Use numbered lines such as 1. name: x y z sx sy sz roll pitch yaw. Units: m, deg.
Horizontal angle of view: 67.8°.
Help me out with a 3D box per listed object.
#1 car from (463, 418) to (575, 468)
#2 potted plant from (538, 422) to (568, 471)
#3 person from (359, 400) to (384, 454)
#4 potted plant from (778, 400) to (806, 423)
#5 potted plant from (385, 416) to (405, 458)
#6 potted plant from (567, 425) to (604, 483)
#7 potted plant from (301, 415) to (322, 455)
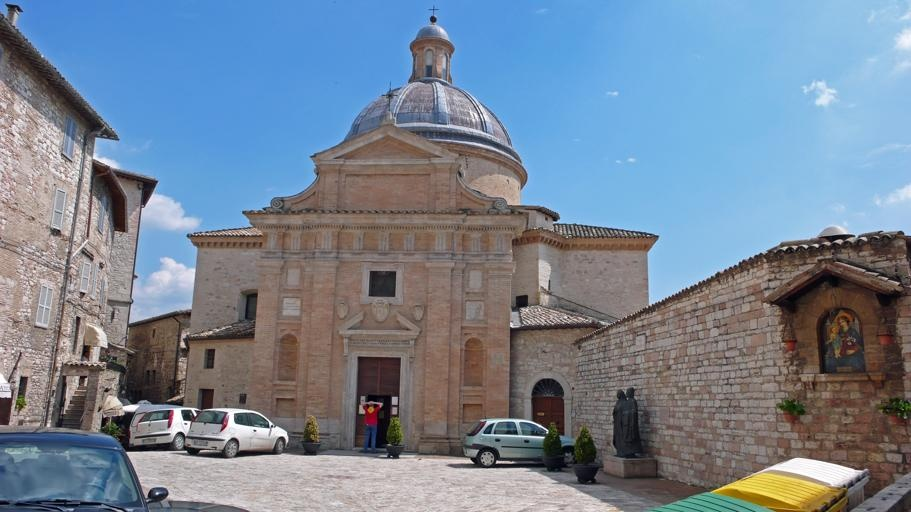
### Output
1. car: 2.559 7.804 28.525 4.045 1.311 2.018 1 -12 -8
2. potted plant: 4.038 7.720 27.378 1.021 1.496 0.628 1 1 -38
3. person: -3.969 8.027 32.263 0.785 1.628 1.417 2 1 -8
4. potted plant: 10.357 4.805 21.084 0.807 0.568 0.731 1 -5 -8
5. potted plant: -2.677 8.121 30.199 0.669 1.272 0.837 2 1 -6
6. potted plant: 4.752 7.359 25.111 1.010 1.834 0.932 -2 -13 18
7. potted plant: -6.607 8.255 31.291 0.814 1.809 1.476 2 1 -10
